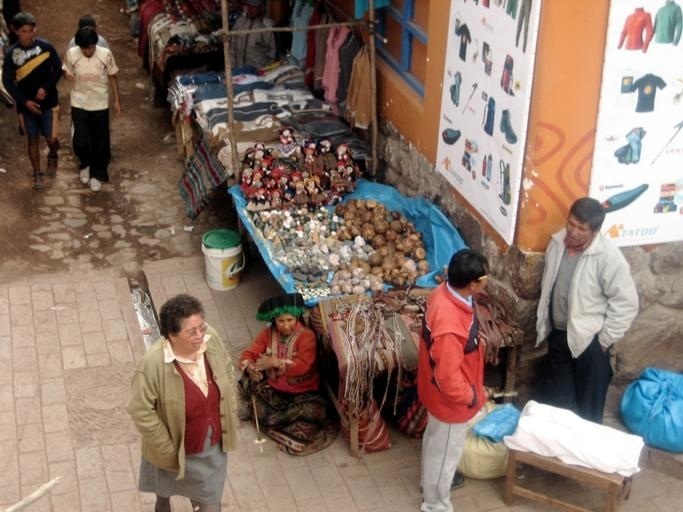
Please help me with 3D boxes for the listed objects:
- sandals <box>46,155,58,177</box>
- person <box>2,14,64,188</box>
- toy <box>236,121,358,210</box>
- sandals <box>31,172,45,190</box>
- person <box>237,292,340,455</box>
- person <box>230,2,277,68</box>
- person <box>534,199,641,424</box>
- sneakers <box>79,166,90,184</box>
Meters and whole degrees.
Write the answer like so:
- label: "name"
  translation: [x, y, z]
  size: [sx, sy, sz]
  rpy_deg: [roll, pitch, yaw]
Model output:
- label: "sandals"
  translation: [-4.661, -1.453, 8.893]
  size: [0.126, 0.389, 0.252]
  rpy_deg: [0, -14, -17]
- label: "person"
  translation: [-4.512, -2.323, 8.255]
  size: [0.820, 2.421, 0.523]
  rpy_deg: [-16, 32, -24]
- label: "toy"
  translation: [-0.566, -1.078, 6.987]
  size: [1.476, 0.671, 0.968]
  rpy_deg: [-8, 31, -11]
- label: "sandals"
  translation: [-4.702, -1.195, 8.543]
  size: [0.133, 0.133, 0.312]
  rpy_deg: [-3, 58, -13]
- label: "person"
  translation: [-0.522, 1.016, 4.910]
  size: [0.887, 1.382, 0.756]
  rpy_deg: [-5, 29, -6]
- label: "person"
  translation: [-1.536, -3.775, 9.386]
  size: [0.784, 0.946, 0.831]
  rpy_deg: [-24, 36, -34]
- label: "person"
  translation: [2.099, 0.596, 4.813]
  size: [0.803, 2.405, 0.680]
  rpy_deg: [22, 43, 39]
- label: "sneakers"
  translation: [-4.092, -1.278, 8.756]
  size: [0.111, 0.128, 0.288]
  rpy_deg: [-1, 37, -17]
